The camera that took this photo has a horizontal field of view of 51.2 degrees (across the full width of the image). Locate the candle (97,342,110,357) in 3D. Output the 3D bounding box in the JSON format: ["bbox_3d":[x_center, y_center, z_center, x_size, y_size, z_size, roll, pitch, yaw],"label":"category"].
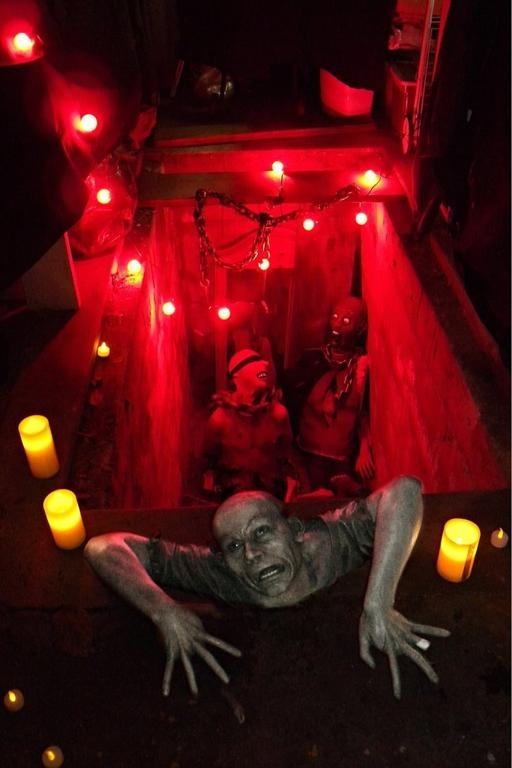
[{"bbox_3d":[-0.928,-0.218,3.269,0.062,0.064,0.089,-5,44,-23],"label":"candle"}]

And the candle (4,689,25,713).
[{"bbox_3d":[-0.734,0.969,1.638,0.048,0.048,0.049,33,44,11],"label":"candle"}]

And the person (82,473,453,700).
[{"bbox_3d":[0.012,0.742,1.966,1.163,0.431,0.820,0,20,-4],"label":"person"}]
